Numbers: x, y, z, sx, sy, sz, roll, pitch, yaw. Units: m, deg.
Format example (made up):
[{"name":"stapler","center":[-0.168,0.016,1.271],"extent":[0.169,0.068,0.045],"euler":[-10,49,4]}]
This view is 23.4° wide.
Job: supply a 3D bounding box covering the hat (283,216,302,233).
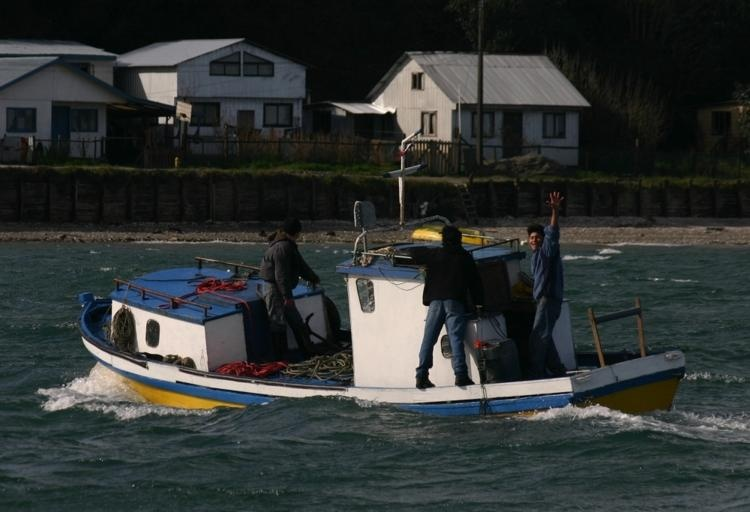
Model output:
[{"name":"hat","center":[-2.961,-0.986,67.705],"extent":[0.489,0.505,0.632],"euler":[1,16,13]}]
